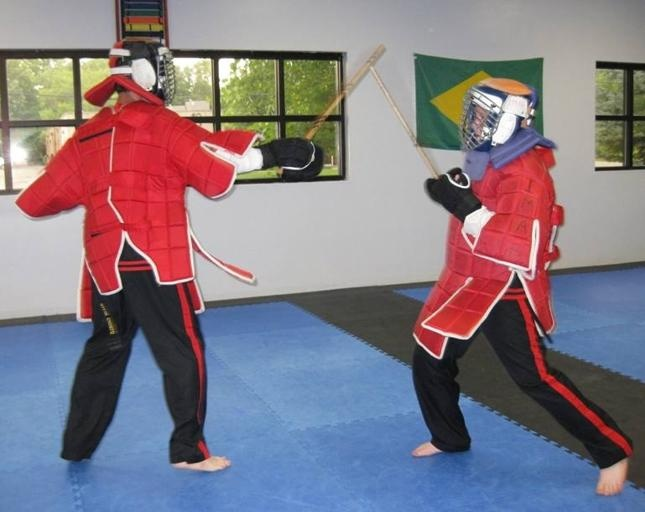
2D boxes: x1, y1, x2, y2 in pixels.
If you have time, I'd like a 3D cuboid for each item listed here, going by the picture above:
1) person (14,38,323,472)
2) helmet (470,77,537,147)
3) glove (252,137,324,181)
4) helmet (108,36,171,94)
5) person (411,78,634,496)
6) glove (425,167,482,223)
[{"bbox_3d":[-0.786,0.012,3.035,1.275,2.005,0.409,1,13,11],"label":"person"},{"bbox_3d":[0.737,-0.619,2.769,0.329,0.297,0.251,1,11,3],"label":"helmet"},{"bbox_3d":[-0.148,-0.432,2.964,0.276,0.156,0.109,-6,-11,1],"label":"glove"},{"bbox_3d":[-0.817,-0.868,2.946,0.290,0.250,0.221,-5,12,-17],"label":"helmet"},{"bbox_3d":[0.852,0.129,2.856,0.894,1.802,0.411,0,12,5],"label":"person"},{"bbox_3d":[0.571,-0.278,2.819,0.238,0.191,0.110,49,29,10],"label":"glove"}]
